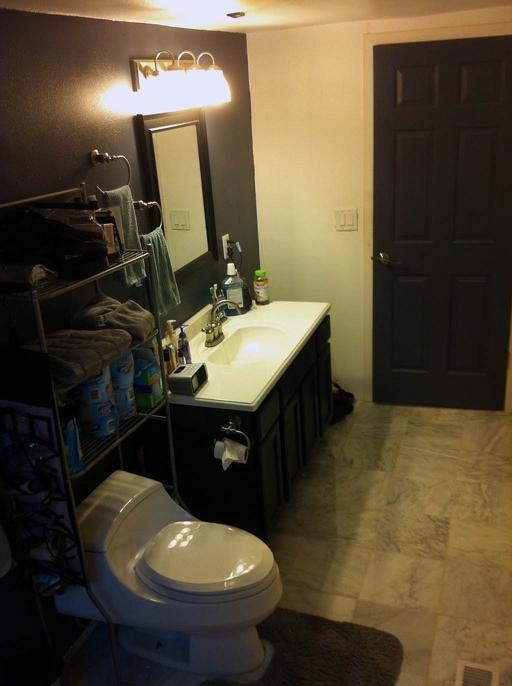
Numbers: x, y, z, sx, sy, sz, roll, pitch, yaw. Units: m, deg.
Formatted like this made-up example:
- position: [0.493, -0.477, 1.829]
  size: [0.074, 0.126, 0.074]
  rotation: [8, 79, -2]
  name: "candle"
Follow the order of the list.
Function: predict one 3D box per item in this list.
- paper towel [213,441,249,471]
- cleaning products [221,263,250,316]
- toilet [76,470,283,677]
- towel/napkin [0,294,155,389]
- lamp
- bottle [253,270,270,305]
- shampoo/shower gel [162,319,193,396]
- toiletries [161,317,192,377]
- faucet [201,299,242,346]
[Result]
- position: [-0.091, 0.392, 1.825]
  size: [0.098, 0.046, 0.114]
  rotation: [9, 38, 9]
  name: "paper towel"
- position: [-0.095, -0.271, 2.718]
  size: [0.151, 0.296, 0.120]
  rotation: [-8, -13, 1]
  name: "cleaning products"
- position: [-0.238, 0.722, 1.683]
  size: [0.688, 0.514, 0.430]
  rotation: [11, 29, 19]
  name: "toilet"
- position: [-0.447, -0.009, 1.422]
  size: [0.213, 0.095, 0.280]
  rotation: [21, 34, 18]
  name: "towel/napkin"
- position: [-0.346, -1.134, 2.189]
  size: [0.183, 0.313, 0.616]
  rotation: [25, 40, 34]
  name: "lamp"
- position: [0.029, -0.318, 2.877]
  size: [0.082, 0.195, 0.123]
  rotation: [-5, 18, 0]
  name: "bottle"
- position: [-0.314, 0.067, 2.020]
  size: [0.098, 0.396, 0.083]
  rotation: [-18, 37, -19]
  name: "shampoo/shower gel"
- position: [-0.328, 0.024, 2.071]
  size: [0.087, 0.191, 0.183]
  rotation: [1, 24, 9]
  name: "toiletries"
- position: [-0.179, -0.098, 2.367]
  size: [0.154, 0.240, 0.107]
  rotation: [-9, 27, -29]
  name: "faucet"
